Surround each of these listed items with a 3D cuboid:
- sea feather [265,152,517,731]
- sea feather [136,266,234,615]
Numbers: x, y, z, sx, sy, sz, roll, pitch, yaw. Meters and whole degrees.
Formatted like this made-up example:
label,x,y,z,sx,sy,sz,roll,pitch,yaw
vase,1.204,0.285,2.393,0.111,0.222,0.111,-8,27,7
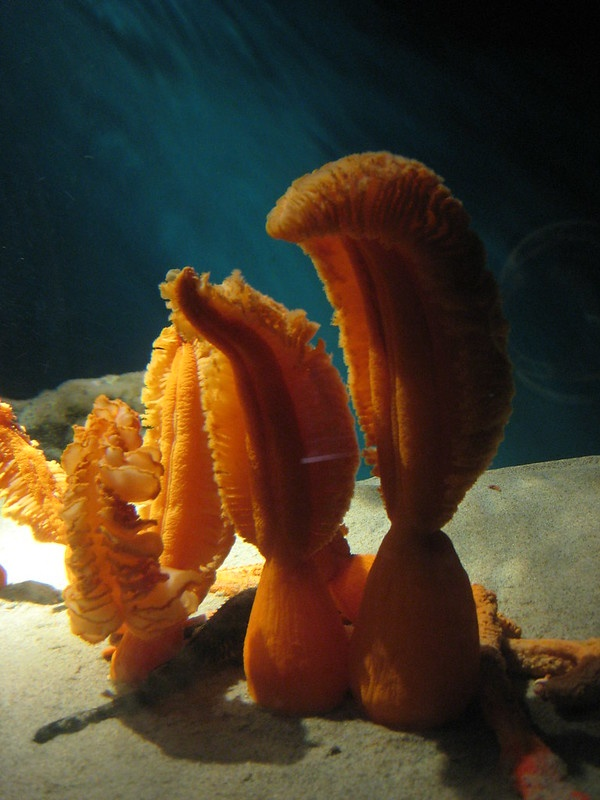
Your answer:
label,x,y,z,sx,sy,sz,roll,pitch,yaw
sea feather,0.137,0.061,1.388,0.500,0.899,0.226,21,25,38
sea feather,-0.231,0.099,1.684,0.226,0.608,0.260,-12,26,-28
